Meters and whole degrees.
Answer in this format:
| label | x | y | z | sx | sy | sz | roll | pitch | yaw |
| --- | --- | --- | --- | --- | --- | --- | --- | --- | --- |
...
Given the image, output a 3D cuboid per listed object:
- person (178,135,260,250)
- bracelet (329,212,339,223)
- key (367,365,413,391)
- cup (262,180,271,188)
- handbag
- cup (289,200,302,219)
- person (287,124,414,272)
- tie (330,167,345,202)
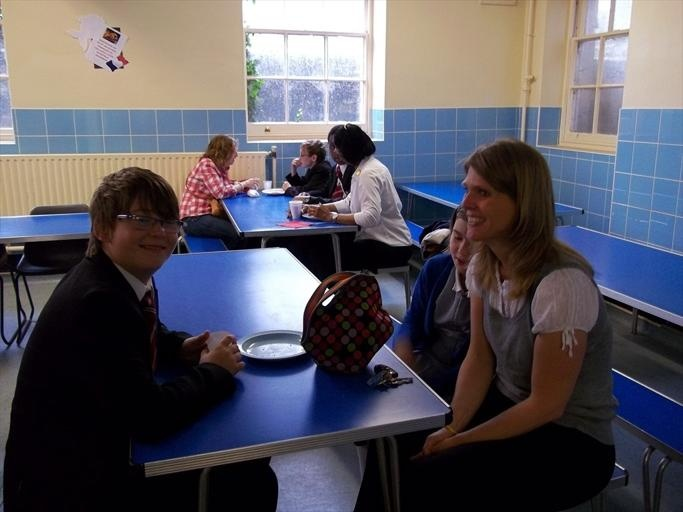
| label | x | y | z | sx | sy | sz | roll | pitch | yaw |
| --- | --- | --- | --- | --- | --- | --- | --- | --- | --- |
| person | -1.079 | -0.464 | 4.608 | 0.681 | 1.322 | 0.517 | 0 | 5 | -13 |
| bracelet | -0.051 | -0.295 | 3.351 | 0.048 | 0.041 | 0.067 | -1 | 0 | -3 |
| key | 0.126 | 0.339 | 1.465 | 0.083 | 0.036 | 0.065 | -1 | 13 | -8 |
| cup | -0.666 | -0.702 | 4.624 | 0.085 | 0.072 | 0.090 | -1 | 11 | 0 |
| handbag | 0.008 | 0.213 | 1.536 | 0.222 | 0.224 | 0.132 | -30 | 12 | -4 |
| cup | -0.305 | -0.344 | 3.366 | 0.086 | 0.117 | 0.110 | 6 | 16 | 27 |
| person | 0.099 | -0.256 | 3.822 | 0.793 | 1.480 | 0.745 | 5 | 9 | -5 |
| tie | -0.029 | -0.622 | 4.059 | 0.089 | 0.244 | 0.170 | -1 | 12 | -16 |
